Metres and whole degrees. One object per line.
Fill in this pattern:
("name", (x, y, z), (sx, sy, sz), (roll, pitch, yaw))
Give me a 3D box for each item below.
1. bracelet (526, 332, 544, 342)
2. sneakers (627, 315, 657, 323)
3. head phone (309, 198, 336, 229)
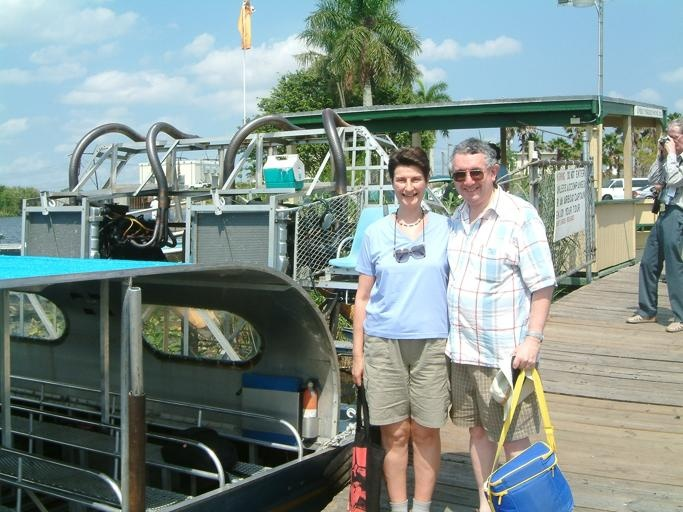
("bracelet", (1.343, 0.584, 6.085), (0.077, 0.086, 0.082), (12, 16, 27))
("sneakers", (3.403, 0.729, 9.925), (0.302, 0.109, 0.121), (3, 0, 6))
("head phone", (-0.208, -0.490, 10.522), (0.110, 0.345, 0.255), (6, 48, 47))
